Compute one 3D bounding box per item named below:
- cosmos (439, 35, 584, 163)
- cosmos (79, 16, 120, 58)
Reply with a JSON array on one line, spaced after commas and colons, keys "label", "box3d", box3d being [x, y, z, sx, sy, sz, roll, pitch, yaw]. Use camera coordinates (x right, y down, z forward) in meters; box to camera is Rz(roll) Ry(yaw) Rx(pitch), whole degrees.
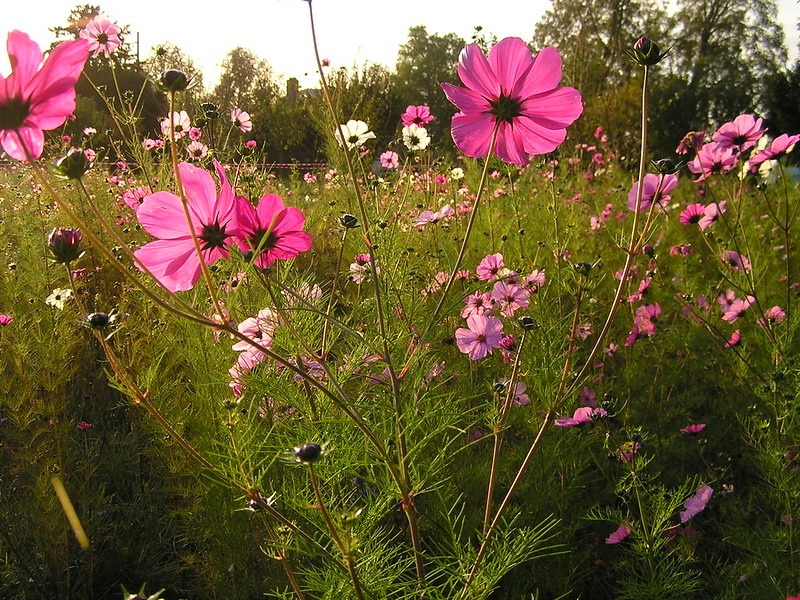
[{"label": "cosmos", "box3d": [0.330, -0.610, 2.192, 0.403, 0.123, 0.475, -18, -24, -2]}, {"label": "cosmos", "box3d": [-1.509, -1.291, 3.509, 0.179, 0.242, 0.067, -3, -40, -15]}]
